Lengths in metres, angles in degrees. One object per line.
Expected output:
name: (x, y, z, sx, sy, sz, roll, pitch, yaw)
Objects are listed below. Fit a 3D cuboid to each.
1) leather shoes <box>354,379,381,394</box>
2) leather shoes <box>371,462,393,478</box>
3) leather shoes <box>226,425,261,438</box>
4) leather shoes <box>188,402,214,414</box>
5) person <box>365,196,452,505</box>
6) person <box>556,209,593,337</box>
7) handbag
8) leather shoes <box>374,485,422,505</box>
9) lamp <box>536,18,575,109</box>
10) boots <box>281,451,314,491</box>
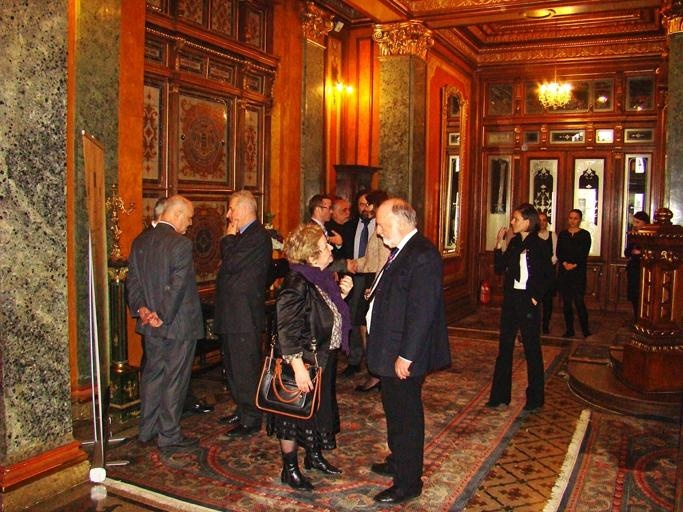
leather shoes: (0.275, 1.377, 5.910, 0.215, 0.106, 0.119, 3, -1, -9)
leather shoes: (0.309, 1.613, 4.248, 0.196, 0.085, 0.070, 8, 3, 27)
leather shoes: (-0.843, 1.476, 4.846, 0.256, 0.124, 0.106, 13, -2, -18)
leather shoes: (-1.329, 1.434, 5.334, 0.252, 0.118, 0.097, -1, -1, 6)
person: (0.442, 0.661, 3.868, 0.591, 2.079, 0.371, 2, 7, 11)
person: (3.469, 0.262, 8.350, 0.526, 1.845, 0.532, 4, 7, 23)
handbag: (-0.333, 0.883, 3.750, 0.432, 0.428, 0.216, 10, 9, 16)
leather shoes: (0.387, 1.647, 3.945, 0.329, 0.145, 0.118, 5, 2, -7)
lamp: (3.890, -3.110, 10.256, 0.663, 0.778, 0.993, 4, 7, 22)
boots: (-0.314, 1.508, 3.977, 0.309, 0.258, 0.119, 10, 15, 38)
